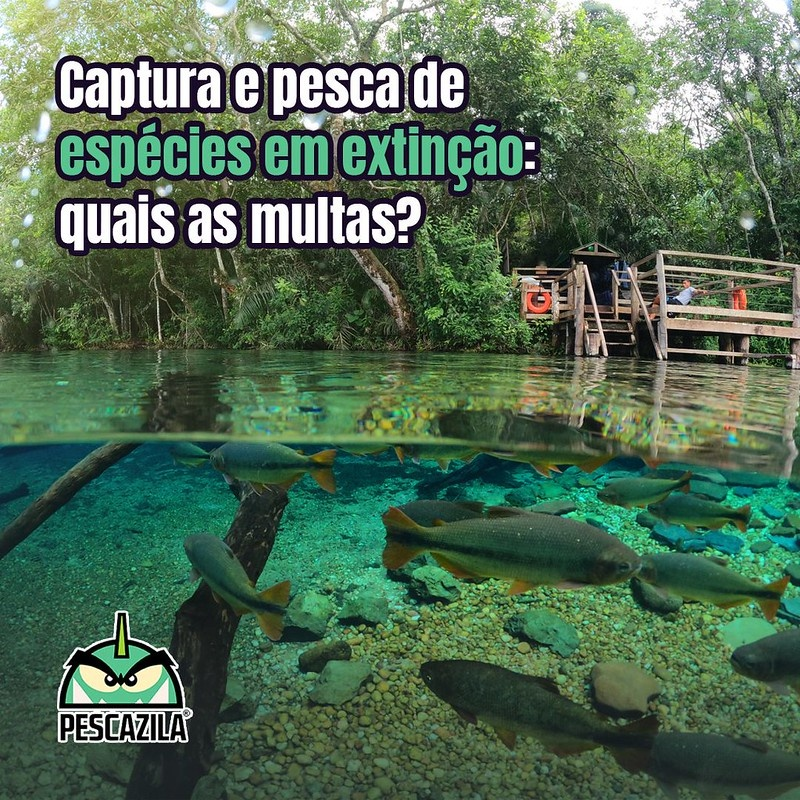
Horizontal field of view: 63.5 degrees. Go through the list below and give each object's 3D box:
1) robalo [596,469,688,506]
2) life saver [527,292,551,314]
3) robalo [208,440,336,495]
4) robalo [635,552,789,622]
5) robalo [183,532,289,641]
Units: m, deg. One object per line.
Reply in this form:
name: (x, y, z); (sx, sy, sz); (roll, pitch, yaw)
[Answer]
robalo: (1.675, 0.631, 4.485); (0.595, 0.251, 0.340); (0, 5, 18)
life saver: (4.110, -2.879, 18.869); (0.594, 0.672, 0.855); (2, 6, 39)
robalo: (-0.870, 0.424, 4.207); (0.944, 0.309, 0.194); (3, 6, 21)
robalo: (1.923, 1.159, 4.116); (0.898, 0.298, 0.224); (0, -20, 46)
robalo: (-1.053, 1.180, 4.144); (0.655, 0.640, 0.171); (-1, 5, 10)
